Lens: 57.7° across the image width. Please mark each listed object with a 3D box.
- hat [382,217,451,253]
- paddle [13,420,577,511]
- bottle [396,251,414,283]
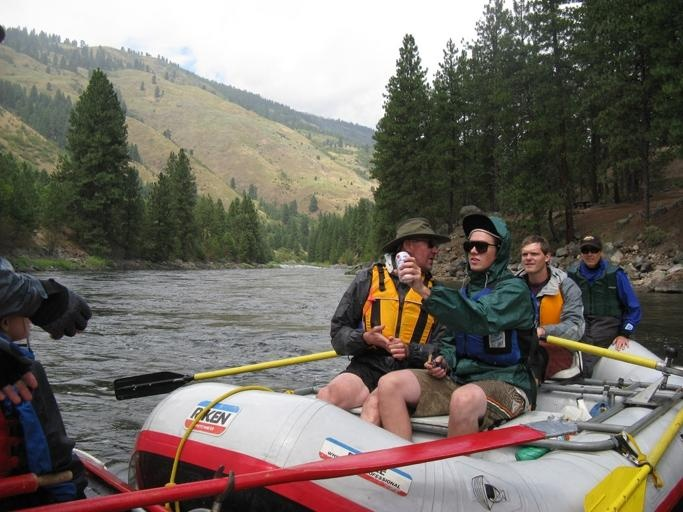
[{"bbox_3d":[0.586,-0.183,5.444,0.352,0.166,0.412,-1,-10,-23],"label":"hat"},{"bbox_3d":[-0.242,1.374,3.987,3.501,0.121,0.388,-6,19,2],"label":"paddle"},{"bbox_3d":[0.451,0.077,4.414,0.105,0.210,0.206,-2,2,6],"label":"bottle"}]
